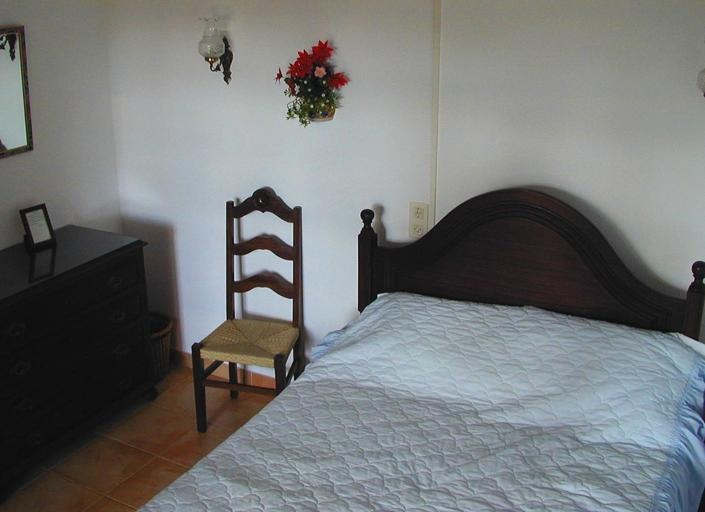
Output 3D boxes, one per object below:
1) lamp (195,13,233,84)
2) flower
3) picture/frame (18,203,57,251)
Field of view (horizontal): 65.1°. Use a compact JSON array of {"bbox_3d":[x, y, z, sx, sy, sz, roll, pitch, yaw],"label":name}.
[{"bbox_3d":[-0.779,-1.112,2.996,0.211,0.350,0.181,16,27,33],"label":"lamp"},{"bbox_3d":[-0.194,-0.875,2.826,0.320,0.326,0.302,-12,34,-14],"label":"flower"},{"bbox_3d":[-1.717,-0.150,2.990,0.133,0.255,0.173,8,26,37],"label":"picture/frame"}]
